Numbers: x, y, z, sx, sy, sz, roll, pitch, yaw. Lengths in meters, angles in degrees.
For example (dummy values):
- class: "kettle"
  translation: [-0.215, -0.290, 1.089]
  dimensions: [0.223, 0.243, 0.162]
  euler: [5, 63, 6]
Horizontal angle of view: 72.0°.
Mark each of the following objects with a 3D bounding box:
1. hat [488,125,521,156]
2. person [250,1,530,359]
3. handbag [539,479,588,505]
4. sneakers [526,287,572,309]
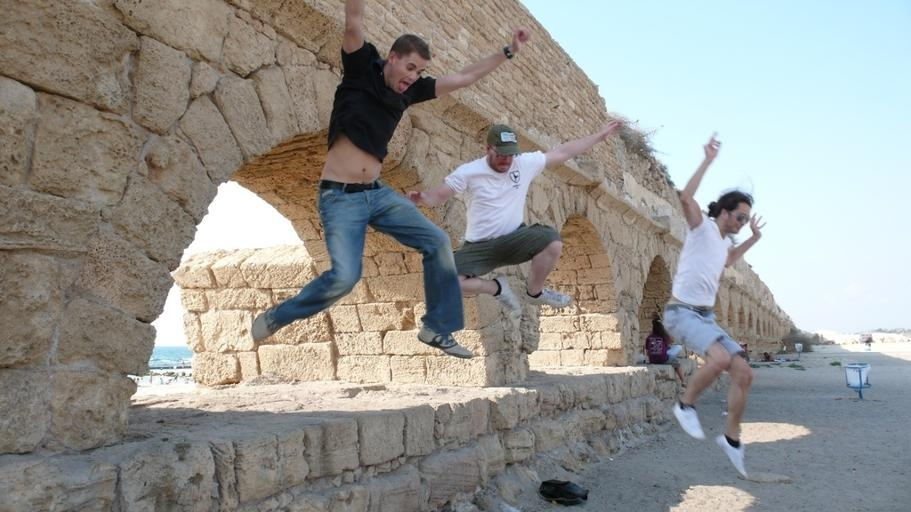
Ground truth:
- class: "hat"
  translation: [0.408, -1.042, 5.518]
  dimensions: [0.230, 0.161, 0.312]
  euler: [-20, 43, -35]
- class: "person"
  translation: [-0.514, -0.588, 4.834]
  dimensions: [1.451, 2.575, 0.426]
  euler: [13, 2, -15]
- class: "handbag"
  translation: [1.015, 2.266, 6.026]
  dimensions: [0.316, 0.110, 0.223]
  euler: [3, 5, 29]
- class: "sneakers"
  translation: [0.914, 0.384, 6.047]
  dimensions: [0.506, 0.163, 0.202]
  euler: [2, -27, -17]
